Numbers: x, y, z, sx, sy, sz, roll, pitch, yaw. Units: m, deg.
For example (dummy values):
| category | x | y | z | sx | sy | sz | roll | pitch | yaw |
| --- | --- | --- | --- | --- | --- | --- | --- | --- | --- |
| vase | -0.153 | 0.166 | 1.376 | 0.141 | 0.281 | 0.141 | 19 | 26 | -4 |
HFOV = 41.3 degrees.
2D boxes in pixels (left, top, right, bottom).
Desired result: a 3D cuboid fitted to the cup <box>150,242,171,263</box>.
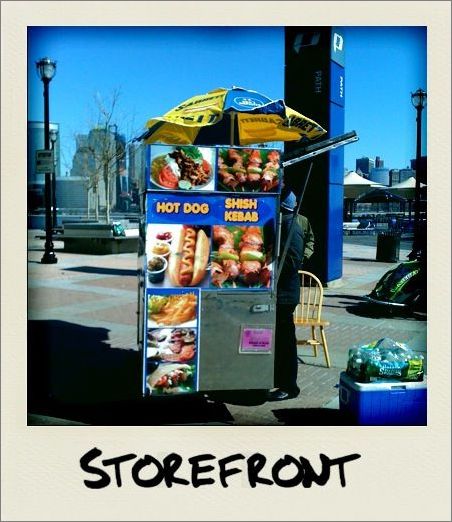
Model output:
| category | x | y | z | sx | sy | sz | roll | pitch | yaw |
| --- | --- | --- | --- | --- | --- | --- | --- | --- | --- |
| cup | -0.514 | -0.066 | 4.581 | 0.137 | 0.081 | 0.133 | 2 | 14 | 0 |

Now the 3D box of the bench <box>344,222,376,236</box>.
| category | x | y | z | sx | sy | sz | roll | pitch | yaw |
| --- | --- | --- | --- | --- | --- | --- | --- | --- | --- |
| bench | 6.516 | -1.641 | 29.644 | 2.007 | 0.664 | 0.670 | -1 | 17 | -3 |

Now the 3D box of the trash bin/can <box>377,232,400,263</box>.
| category | x | y | z | sx | sy | sz | roll | pitch | yaw |
| --- | --- | --- | --- | --- | --- | --- | --- | --- | --- |
| trash bin/can | 4.399 | -0.371 | 16.223 | 0.637 | 0.794 | 0.540 | 6 | 9 | 34 |

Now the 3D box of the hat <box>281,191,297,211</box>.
| category | x | y | z | sx | sy | sz | roll | pitch | yaw |
| --- | --- | --- | --- | --- | --- | --- | --- | --- | --- |
| hat | 0.562 | -0.519 | 5.130 | 0.093 | 0.164 | 0.235 | 5 | 8 | 27 |

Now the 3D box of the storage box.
| category | x | y | z | sx | sy | sz | roll | pitch | yaw |
| --- | --- | --- | --- | --- | --- | --- | --- | --- | --- |
| storage box | 1.156 | 1.033 | 4.328 | 0.517 | 0.227 | 0.351 | 0 | -2 | -4 |
